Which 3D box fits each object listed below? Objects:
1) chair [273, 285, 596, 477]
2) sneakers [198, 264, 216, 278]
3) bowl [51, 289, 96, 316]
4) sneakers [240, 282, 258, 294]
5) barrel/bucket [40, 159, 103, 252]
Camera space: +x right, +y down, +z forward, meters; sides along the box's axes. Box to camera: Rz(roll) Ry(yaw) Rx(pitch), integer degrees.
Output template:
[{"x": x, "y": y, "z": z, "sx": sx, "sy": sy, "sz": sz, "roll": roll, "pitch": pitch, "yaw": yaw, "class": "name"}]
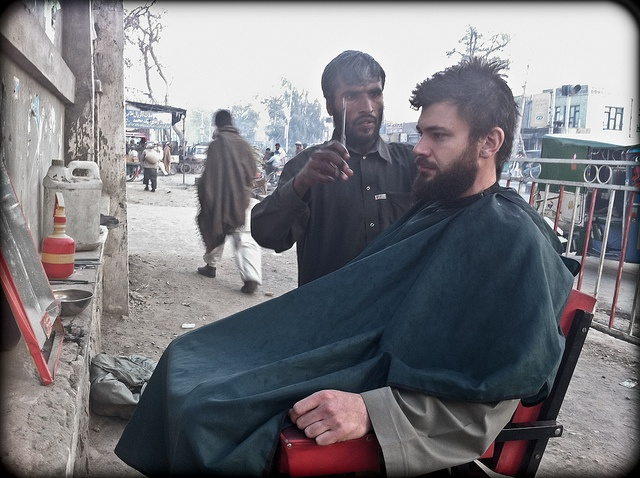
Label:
[{"x": 0.436, "y": 0.642, "z": 2.381, "sx": 1.034, "sy": 1.110, "sz": 0.785, "roll": 8, "pitch": -11, "yaw": -8, "class": "chair"}, {"x": -1.462, "y": 0.391, "z": 6.451, "sx": 0.115, "sy": 0.197, "sz": 0.261, "roll": 1, "pitch": 17, "yaw": -46, "class": "sneakers"}, {"x": -1.412, "y": 0.366, "z": 2.837, "sx": 0.195, "sy": 0.142, "sz": 0.230, "roll": -1, "pitch": 8, "yaw": -32, "class": "bowl"}, {"x": -0.857, "y": 0.579, "z": 6.032, "sx": 0.192, "sy": 0.209, "sz": 0.116, "roll": -2, "pitch": 6, "yaw": -33, "class": "sneakers"}, {"x": -1.851, "y": -0.264, "z": 3.716, "sx": 0.397, "sy": 0.704, "sz": 0.369, "roll": 2, "pitch": 4, "yaw": 0, "class": "barrel/bucket"}]
